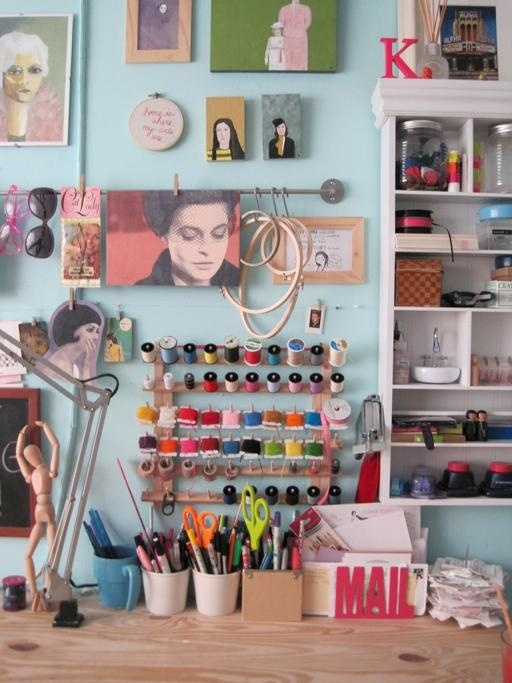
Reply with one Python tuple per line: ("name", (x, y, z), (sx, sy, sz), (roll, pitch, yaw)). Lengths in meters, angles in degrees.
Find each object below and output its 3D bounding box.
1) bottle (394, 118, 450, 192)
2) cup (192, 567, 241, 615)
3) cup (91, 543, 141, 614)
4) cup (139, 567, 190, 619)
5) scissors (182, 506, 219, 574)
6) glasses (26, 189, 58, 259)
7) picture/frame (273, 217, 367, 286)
("bottle", (0.456, -0.521, 1.907), (0.136, 0.195, 0.072), (1, 8, 7))
("cup", (-0.099, 0.656, 1.778), (0.116, 0.087, 0.114), (1, -4, 0))
("cup", (-0.378, 0.633, 1.845), (0.105, 0.120, 0.162), (-1, 10, -16))
("cup", (-0.238, 0.652, 1.807), (0.115, 0.089, 0.113), (0, -2, 0))
("scissors", (-0.145, 0.514, 1.824), (0.093, 0.161, 0.137), (0, 8, -4))
("glasses", (-0.612, -0.341, 1.955), (0.085, 0.192, 0.043), (-2, 8, -14))
("picture/frame", (0.189, -0.263, 1.948), (0.209, 0.167, 0.015), (1, 1, -3))
